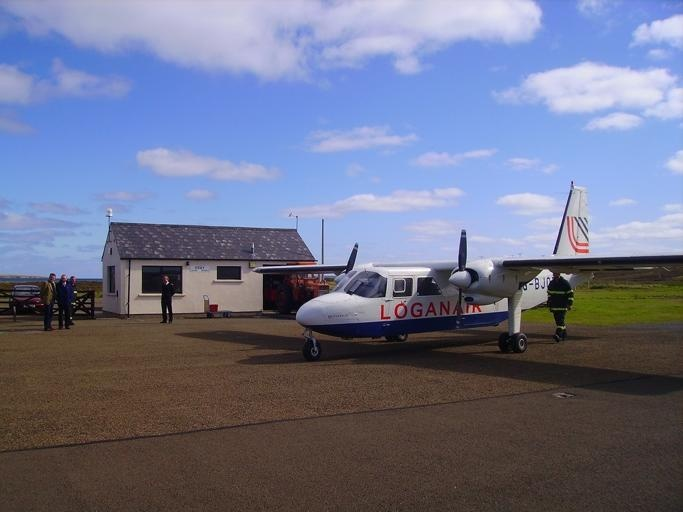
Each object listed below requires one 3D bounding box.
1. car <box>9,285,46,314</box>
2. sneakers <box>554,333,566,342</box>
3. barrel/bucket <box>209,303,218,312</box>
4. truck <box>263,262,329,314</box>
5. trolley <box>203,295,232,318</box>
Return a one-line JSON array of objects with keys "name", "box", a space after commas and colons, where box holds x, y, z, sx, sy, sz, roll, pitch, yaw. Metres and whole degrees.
[{"name": "car", "box": [-14.346, 2.027, 25.399, 1.694, 1.142, 3.122, -1, 7, -23]}, {"name": "sneakers", "box": [6.691, 2.460, 16.865, 0.657, 0.221, 0.209, 1, 9, -40]}, {"name": "barrel/bucket", "box": [-6.115, 2.496, 26.523, 0.470, 0.347, 0.351, 0, -4, -26]}, {"name": "truck", "box": [-2.385, 1.806, 28.771, 5.409, 2.377, 1.611, -1, 0, 43]}, {"name": "trolley", "box": [-5.921, 2.387, 26.623, 1.233, 1.030, 0.989, 1, -1, -30]}]
